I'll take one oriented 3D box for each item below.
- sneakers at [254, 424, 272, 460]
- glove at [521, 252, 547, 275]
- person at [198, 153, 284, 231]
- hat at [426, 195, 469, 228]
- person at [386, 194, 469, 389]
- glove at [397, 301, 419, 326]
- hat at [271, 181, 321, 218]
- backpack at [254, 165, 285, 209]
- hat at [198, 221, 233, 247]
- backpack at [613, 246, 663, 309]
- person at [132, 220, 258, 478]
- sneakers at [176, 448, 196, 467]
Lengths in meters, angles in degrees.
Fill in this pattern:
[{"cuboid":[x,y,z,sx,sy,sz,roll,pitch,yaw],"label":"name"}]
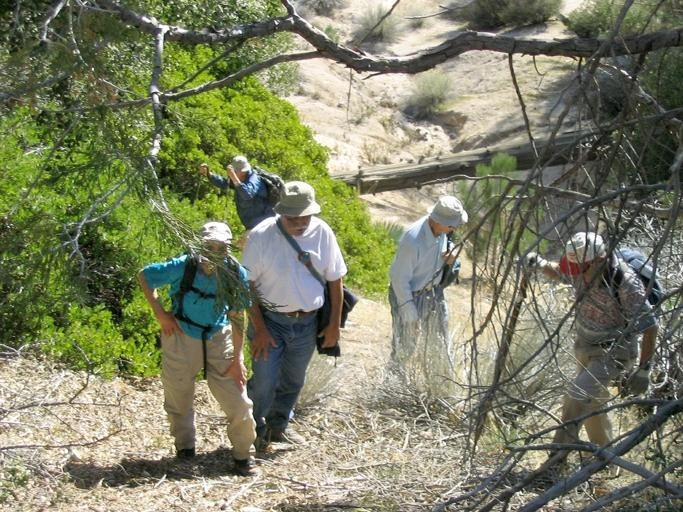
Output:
[{"cuboid":[-0.644,1.477,6.779,0.145,0.233,0.114,-3,-16,1],"label":"sneakers"},{"cuboid":[1.144,0.041,5.043,0.145,0.057,0.111,-32,52,-14],"label":"glove"},{"cuboid":[-1.055,-0.618,8.489,0.794,0.520,1.021,2,46,-20],"label":"person"},{"cuboid":[0.951,-0.391,7.117,0.345,0.182,0.342,-7,24,17],"label":"hat"},{"cuboid":[0.738,0.315,7.482,0.649,1.733,0.781,6,8,5],"label":"person"},{"cuboid":[0.606,0.504,7.597,0.170,0.232,0.324,6,8,4],"label":"glove"},{"cuboid":[-0.328,-0.457,6.399,0.379,0.229,0.457,-1,19,2],"label":"hat"},{"cuboid":[-0.637,-0.604,8.004,0.335,0.337,0.321,-5,-3,4],"label":"backpack"},{"cuboid":[-0.872,-0.164,6.035,0.173,0.136,0.270,17,0,-13],"label":"hat"},{"cuboid":[1.991,0.155,5.720,0.308,0.308,0.220,38,4,-39],"label":"backpack"},{"cuboid":[-0.997,0.704,6.219,0.904,1.898,1.278,1,9,-30],"label":"person"},{"cuboid":[-1.189,1.525,6.477,0.122,0.121,0.104,2,2,-7],"label":"sneakers"}]
